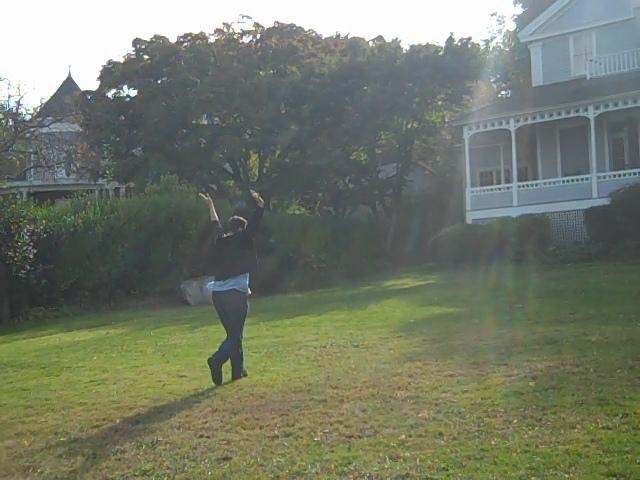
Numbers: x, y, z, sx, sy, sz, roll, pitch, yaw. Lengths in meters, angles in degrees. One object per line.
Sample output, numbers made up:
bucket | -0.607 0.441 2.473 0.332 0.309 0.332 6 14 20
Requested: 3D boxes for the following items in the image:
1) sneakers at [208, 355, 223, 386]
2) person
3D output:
sneakers | -1.855 2.323 10.836 0.194 0.581 0.237 -3 -1 -4
person | -1.646 0.857 11.142 0.906 3.427 1.326 1 8 35
